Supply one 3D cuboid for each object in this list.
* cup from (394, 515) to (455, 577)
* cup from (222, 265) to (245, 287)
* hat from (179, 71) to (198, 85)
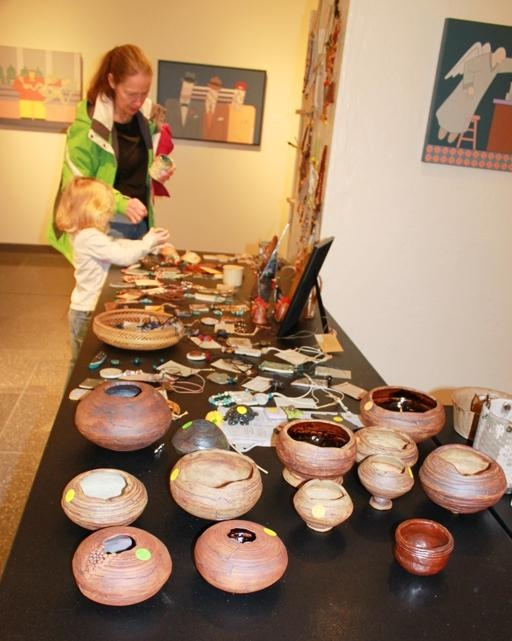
[{"bbox_3d":[0.236,0.320,0.704,0.079,0.046,0.077,-1,8,0],"label":"cup"},{"bbox_3d":[-0.104,-0.199,2.260,0.105,0.084,0.098,3,19,-1],"label":"cup"},{"bbox_3d":[-0.716,-2.523,5.057,0.153,0.135,0.114,1,45,-5],"label":"hat"}]
